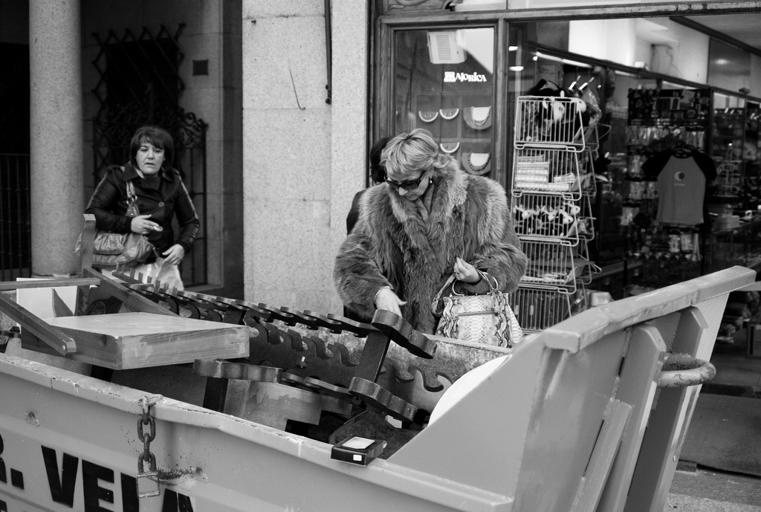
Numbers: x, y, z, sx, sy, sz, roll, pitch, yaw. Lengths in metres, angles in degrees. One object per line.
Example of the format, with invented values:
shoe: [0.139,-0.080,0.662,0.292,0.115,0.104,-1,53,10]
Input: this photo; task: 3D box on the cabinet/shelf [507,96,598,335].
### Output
cabinet/shelf: [1.605,-0.436,8.240,0.805,2.310,2.000,1,6,14]

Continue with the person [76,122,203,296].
person: [-2.054,-0.414,7.259,0.797,1.349,0.491,0,8,-22]

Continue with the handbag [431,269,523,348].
handbag: [0.604,0.338,5.625,0.389,0.450,0.186,2,6,-7]
